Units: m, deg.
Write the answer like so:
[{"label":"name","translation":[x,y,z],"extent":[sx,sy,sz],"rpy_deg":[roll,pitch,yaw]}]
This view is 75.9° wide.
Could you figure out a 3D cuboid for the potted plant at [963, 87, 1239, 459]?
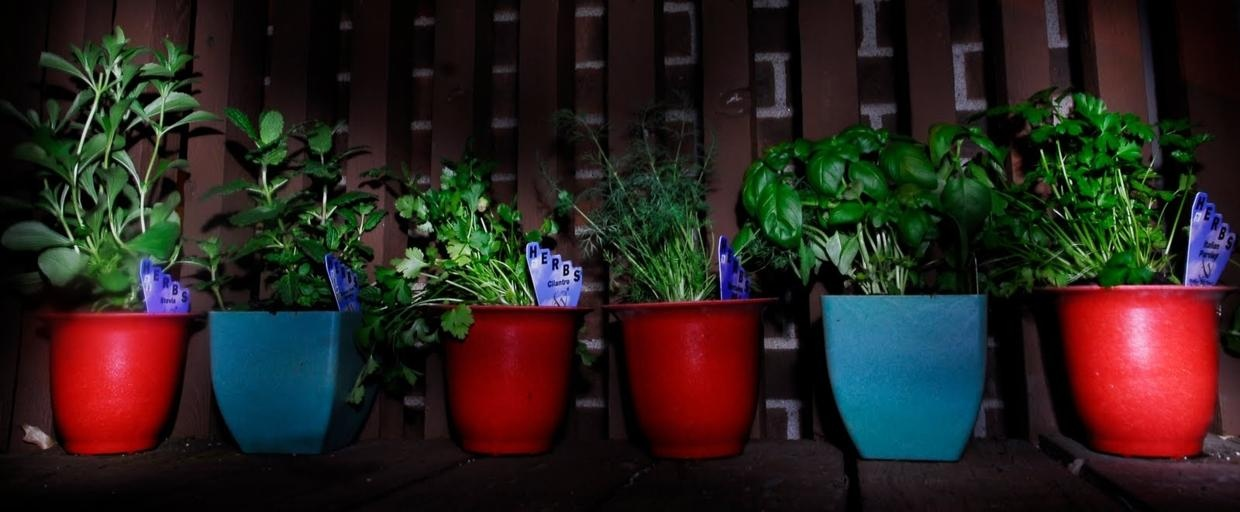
[{"label":"potted plant","translation":[2.128,0.054,3.516],"extent":[0.986,1.356,0.408],"rpy_deg":[-3,1,9]}]
